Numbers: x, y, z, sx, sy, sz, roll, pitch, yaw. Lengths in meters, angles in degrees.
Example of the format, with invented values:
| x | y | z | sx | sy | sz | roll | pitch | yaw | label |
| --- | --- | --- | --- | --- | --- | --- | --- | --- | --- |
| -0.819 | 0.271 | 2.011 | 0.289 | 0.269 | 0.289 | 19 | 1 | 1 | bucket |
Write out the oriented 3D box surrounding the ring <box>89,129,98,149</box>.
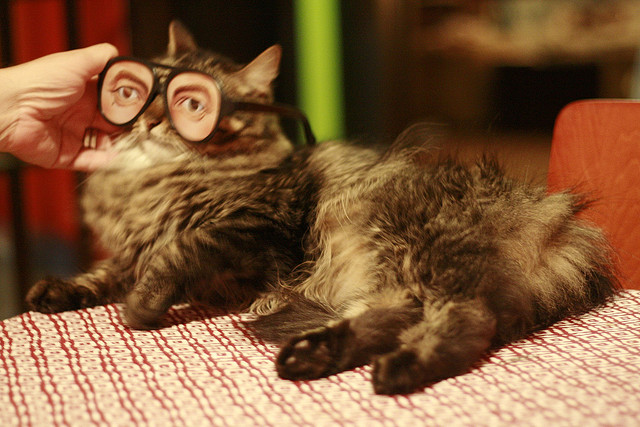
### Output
| x | y | z | sx | sy | sz | roll | pitch | yaw | label |
| --- | --- | --- | --- | --- | --- | --- | --- | --- | --- |
| -0.568 | -0.184 | 1.730 | 0.032 | 0.033 | 0.012 | -1 | 5 | -20 | ring |

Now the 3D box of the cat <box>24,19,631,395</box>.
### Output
| x | y | z | sx | sy | sz | roll | pitch | yaw | label |
| --- | --- | --- | --- | --- | --- | --- | --- | --- | --- |
| 0.018 | 0.056 | 1.687 | 1.127 | 0.593 | 0.797 | 9 | 1 | -5 | cat |
